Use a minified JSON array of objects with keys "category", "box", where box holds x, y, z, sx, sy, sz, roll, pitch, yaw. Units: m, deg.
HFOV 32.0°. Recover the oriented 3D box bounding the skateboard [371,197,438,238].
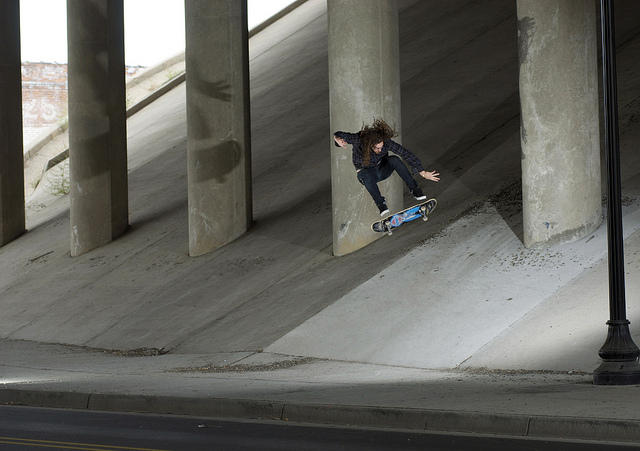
[{"category":"skateboard","box":[2.013,-0.180,27.264,1.628,0.217,0.418,-23,-45,-2]}]
